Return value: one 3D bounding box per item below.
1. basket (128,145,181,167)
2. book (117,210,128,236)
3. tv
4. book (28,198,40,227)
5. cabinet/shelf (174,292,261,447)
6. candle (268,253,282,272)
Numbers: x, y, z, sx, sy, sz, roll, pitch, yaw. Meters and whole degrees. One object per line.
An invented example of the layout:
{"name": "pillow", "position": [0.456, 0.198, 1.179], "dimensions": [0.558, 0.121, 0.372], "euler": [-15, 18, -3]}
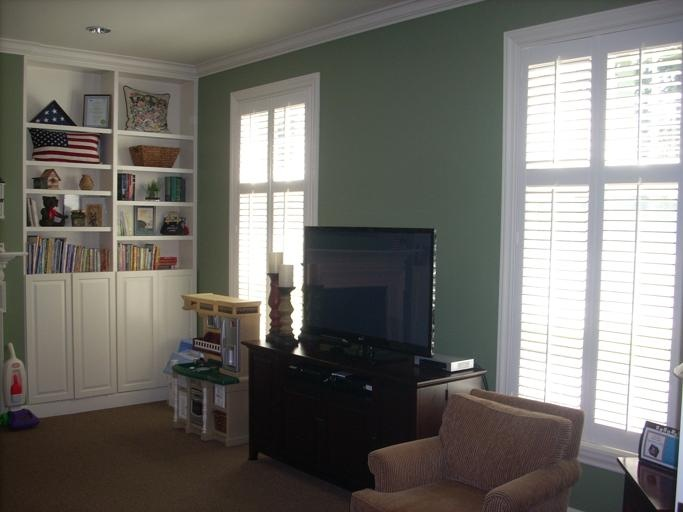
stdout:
{"name": "basket", "position": [-1.949, -1.006, 5.737], "dimensions": [0.383, 0.180, 0.260], "euler": [1, -2, -34]}
{"name": "book", "position": [-2.217, -0.328, 5.553], "dimensions": [0.133, 0.235, 0.239], "euler": [-1, 2, -14]}
{"name": "tv", "position": [0.216, 0.280, 3.808], "dimensions": [0.966, 0.736, 0.107], "euler": [3, 2, 43]}
{"name": "book", "position": [-2.905, -0.404, 5.172], "dimensions": [0.108, 0.297, 0.216], "euler": [-7, 14, -25]}
{"name": "cabinet/shelf", "position": [-1.040, 1.011, 4.702], "dimensions": [0.553, 1.452, 1.155], "euler": [-1, 2, -35]}
{"name": "candle", "position": [-0.537, 0.057, 4.503], "dimensions": [0.117, 0.163, 0.097], "euler": [-3, 7, -15]}
